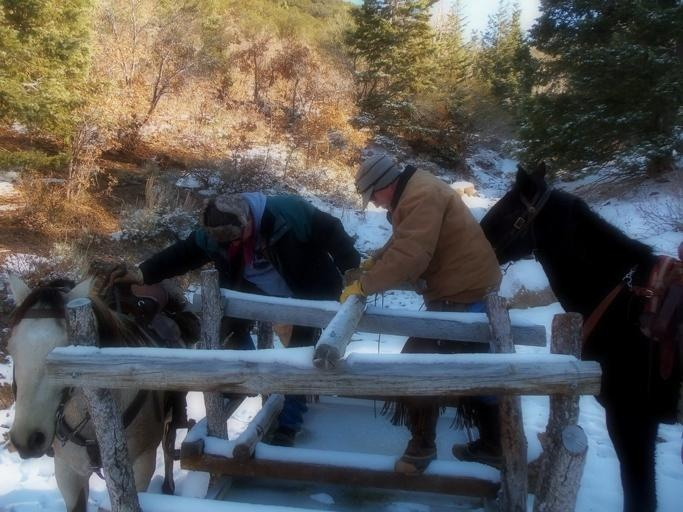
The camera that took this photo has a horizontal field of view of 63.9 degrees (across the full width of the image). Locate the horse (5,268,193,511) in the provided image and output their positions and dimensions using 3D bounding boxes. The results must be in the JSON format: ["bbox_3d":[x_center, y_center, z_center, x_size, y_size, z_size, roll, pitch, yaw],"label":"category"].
[{"bbox_3d":[-2.201,1.256,4.932,0.733,2.220,1.419,15,14,36],"label":"horse"}]

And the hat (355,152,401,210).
[{"bbox_3d":[0.320,-0.762,5.199,0.314,0.576,0.369,46,19,-7],"label":"hat"}]

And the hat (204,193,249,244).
[{"bbox_3d":[-1.083,-0.332,5.457,0.367,0.396,0.496,-18,-16,-1],"label":"hat"}]

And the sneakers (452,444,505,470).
[{"bbox_3d":[1.303,1.906,5.248,0.464,0.202,0.158,9,9,32],"label":"sneakers"}]

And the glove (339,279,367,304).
[{"bbox_3d":[0.116,0.307,4.774,0.205,0.245,0.299,6,11,-3],"label":"glove"}]
